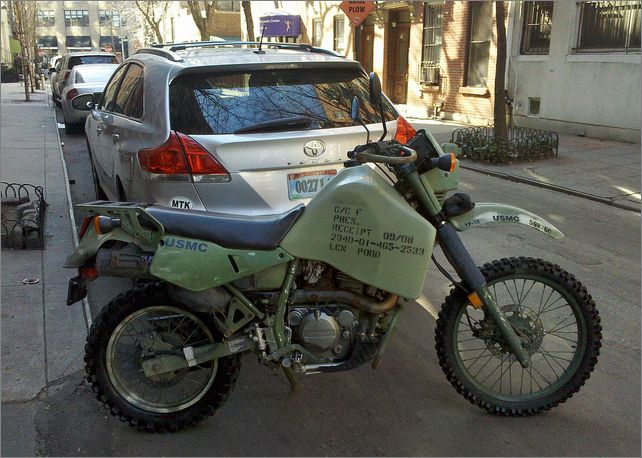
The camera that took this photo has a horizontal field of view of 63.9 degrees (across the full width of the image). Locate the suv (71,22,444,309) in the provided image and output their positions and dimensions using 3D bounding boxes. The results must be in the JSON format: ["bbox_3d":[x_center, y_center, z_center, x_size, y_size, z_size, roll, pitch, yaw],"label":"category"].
[{"bbox_3d":[-1.028,-0.946,5.508,1.901,1.341,3.014,-8,27,-23],"label":"suv"}]
